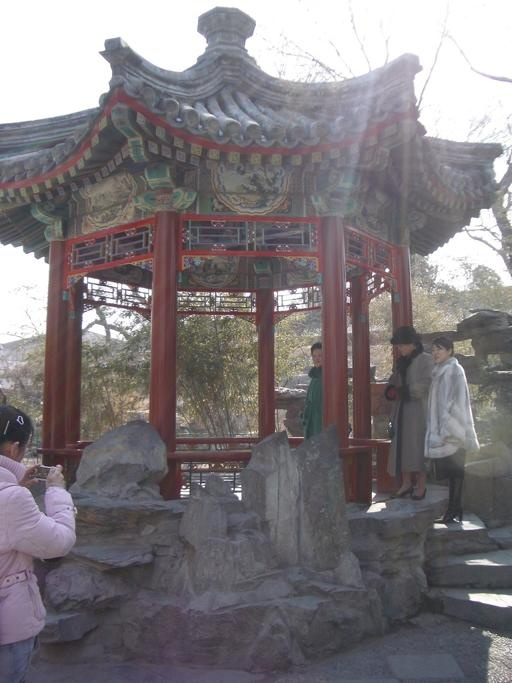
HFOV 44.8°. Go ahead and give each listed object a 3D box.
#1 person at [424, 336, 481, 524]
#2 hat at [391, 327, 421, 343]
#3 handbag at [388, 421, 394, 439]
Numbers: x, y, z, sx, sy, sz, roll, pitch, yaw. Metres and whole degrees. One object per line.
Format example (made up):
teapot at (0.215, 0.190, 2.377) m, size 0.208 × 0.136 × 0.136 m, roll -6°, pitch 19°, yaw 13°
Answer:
person at (1.559, 0.720, 5.054) m, size 0.363 × 1.502 × 0.418 m, roll -2°, pitch -4°, yaw -5°
hat at (1.369, -0.040, 5.594) m, size 0.197 × 0.103 × 0.176 m, roll -3°, pitch 2°, yaw -14°
handbag at (1.190, 0.797, 5.469) m, size 0.043 × 0.122 × 0.089 m, roll 4°, pitch -5°, yaw -10°
